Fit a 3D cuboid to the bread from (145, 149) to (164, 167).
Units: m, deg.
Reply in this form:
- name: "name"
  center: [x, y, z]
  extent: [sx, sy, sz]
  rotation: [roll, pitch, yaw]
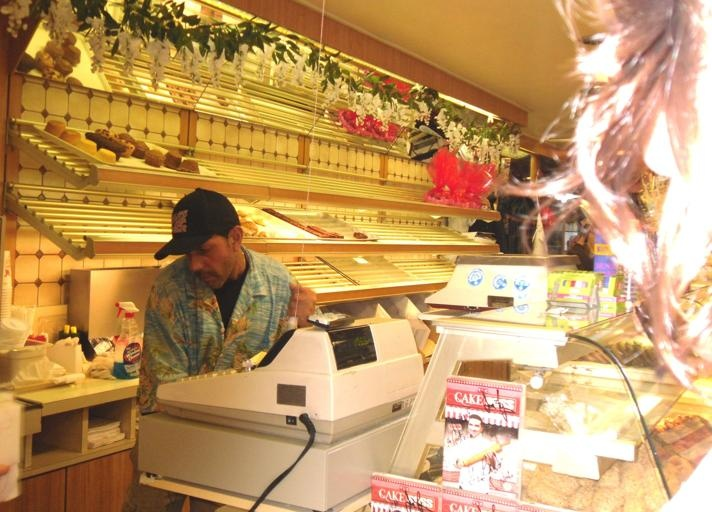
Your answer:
- name: "bread"
  center: [-1.116, -0.541, 2.695]
  extent: [0.081, 0.049, 0.109]
  rotation: [-1, 20, -34]

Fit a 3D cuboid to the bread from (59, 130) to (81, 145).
- name: "bread"
  center: [-1.463, -0.605, 2.508]
  extent: [0.091, 0.065, 0.092]
  rotation: [-13, 42, -46]

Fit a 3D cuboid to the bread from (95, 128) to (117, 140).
- name: "bread"
  center: [-1.337, -0.647, 2.622]
  extent: [0.071, 0.055, 0.093]
  rotation: [3, 3, 41]

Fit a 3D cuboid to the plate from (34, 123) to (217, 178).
- name: "plate"
  center: [-1.226, -0.574, 2.680]
  extent: [0.809, 0.257, 0.547]
  rotation: [-1, 3, -35]

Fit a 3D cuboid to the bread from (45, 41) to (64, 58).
- name: "bread"
  center: [-1.619, -1.099, 2.611]
  extent: [0.033, 0.096, 0.096]
  rotation: [-34, 20, 11]

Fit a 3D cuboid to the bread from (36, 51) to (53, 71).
- name: "bread"
  center: [-1.699, -1.050, 2.656]
  extent: [0.044, 0.074, 0.072]
  rotation: [0, -23, 24]

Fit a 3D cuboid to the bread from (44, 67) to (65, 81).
- name: "bread"
  center: [-1.696, -1.011, 2.744]
  extent: [0.058, 0.021, 0.056]
  rotation: [-2, -4, 29]

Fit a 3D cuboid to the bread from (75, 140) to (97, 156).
- name: "bread"
  center: [-1.356, -0.543, 2.462]
  extent: [0.082, 0.043, 0.082]
  rotation: [34, 22, 22]

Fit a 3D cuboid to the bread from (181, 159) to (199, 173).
- name: "bread"
  center: [-0.946, -0.499, 2.790]
  extent: [0.074, 0.069, 0.111]
  rotation: [19, 10, 30]

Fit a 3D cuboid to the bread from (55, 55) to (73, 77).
- name: "bread"
  center: [-1.640, -1.051, 2.744]
  extent: [0.052, 0.077, 0.075]
  rotation: [-12, -12, 42]

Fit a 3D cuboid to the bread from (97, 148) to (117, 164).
- name: "bread"
  center: [-1.260, -0.495, 2.481]
  extent: [0.085, 0.044, 0.086]
  rotation: [-2, 31, -47]

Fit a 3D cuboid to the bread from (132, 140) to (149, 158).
- name: "bread"
  center: [-1.203, -0.593, 2.731]
  extent: [0.095, 0.035, 0.097]
  rotation: [25, 27, -3]

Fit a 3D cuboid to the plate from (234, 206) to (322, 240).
- name: "plate"
  center: [-0.587, -0.209, 3.247]
  extent: [0.322, 0.047, 0.362]
  rotation: [9, 24, -41]

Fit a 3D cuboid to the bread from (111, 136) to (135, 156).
- name: "bread"
  center: [-1.231, -0.580, 2.610]
  extent: [0.057, 0.052, 0.144]
  rotation: [-23, 27, -25]

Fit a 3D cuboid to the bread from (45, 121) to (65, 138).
- name: "bread"
  center: [-1.580, -0.665, 2.558]
  extent: [0.095, 0.050, 0.096]
  rotation: [1, 21, -35]

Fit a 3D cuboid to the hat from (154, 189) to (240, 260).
- name: "hat"
  center: [-0.688, -0.158, 2.041]
  extent: [0.269, 0.219, 0.414]
  rotation: [5, 27, 34]

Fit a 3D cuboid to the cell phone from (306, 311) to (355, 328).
- name: "cell phone"
  center: [-0.082, 0.204, 1.578]
  extent: [0.063, 0.034, 0.111]
  rotation: [7, 5, 35]
